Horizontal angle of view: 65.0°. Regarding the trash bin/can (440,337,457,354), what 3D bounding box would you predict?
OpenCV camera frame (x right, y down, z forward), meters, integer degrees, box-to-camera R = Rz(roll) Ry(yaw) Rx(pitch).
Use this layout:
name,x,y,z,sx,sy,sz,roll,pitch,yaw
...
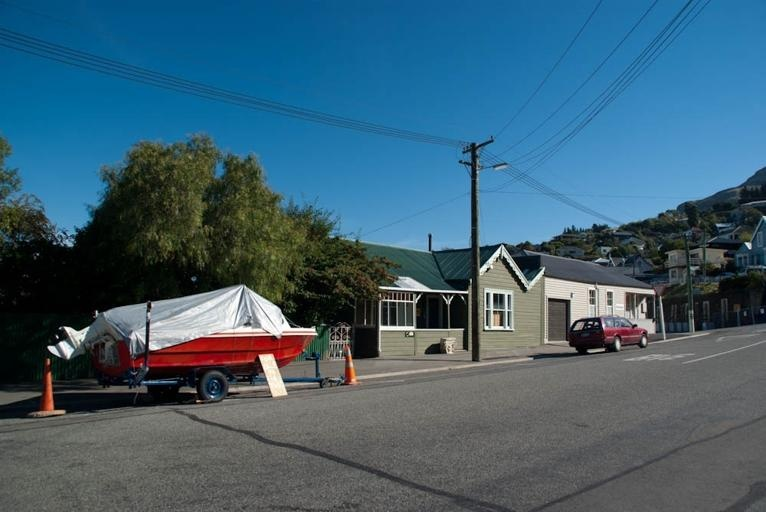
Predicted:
name,x,y,z,sx,sy,sz,roll,pitch,yaw
trash bin/can,3.140,4.456,29.392,0.787,0.822,0.627,6,-12,-28

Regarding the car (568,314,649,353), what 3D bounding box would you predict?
name,x,y,z,sx,sy,sz,roll,pitch,yaw
car,11.155,3.837,29.570,3.765,1.417,1.783,2,-6,-42
